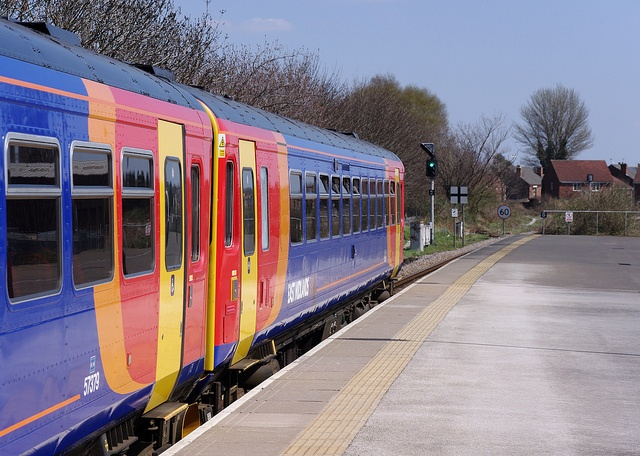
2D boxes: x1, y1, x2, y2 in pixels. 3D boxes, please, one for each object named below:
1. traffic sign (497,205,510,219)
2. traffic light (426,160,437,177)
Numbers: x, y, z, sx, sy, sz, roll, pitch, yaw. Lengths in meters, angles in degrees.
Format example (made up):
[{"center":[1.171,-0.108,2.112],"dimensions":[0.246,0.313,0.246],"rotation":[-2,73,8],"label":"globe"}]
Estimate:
[{"center":[11.010,-0.999,33.090],"dimensions":[0.562,0.639,1.010],"rotation":[3,4,31],"label":"traffic sign"},{"center":[4.621,-2.459,22.985],"dimensions":[0.386,0.745,0.556],"rotation":[1,3,10],"label":"traffic light"}]
